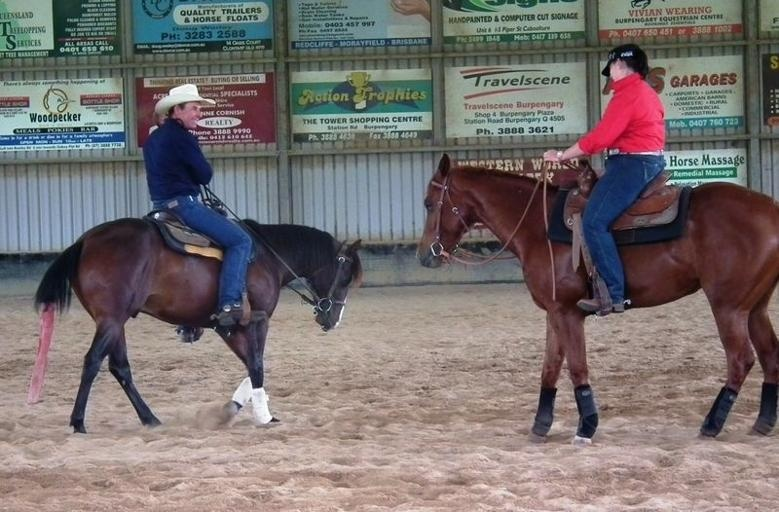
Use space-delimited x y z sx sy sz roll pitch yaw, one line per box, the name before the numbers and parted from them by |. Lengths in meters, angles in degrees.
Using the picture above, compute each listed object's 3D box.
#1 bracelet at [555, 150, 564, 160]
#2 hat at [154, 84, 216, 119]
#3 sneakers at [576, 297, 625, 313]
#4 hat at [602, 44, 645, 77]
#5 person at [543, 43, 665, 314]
bracelet | 2.230 -1.318 18.479 0.093 0.119 0.041 1 -1 7
hat | -2.823 -2.125 19.204 0.687 0.252 0.569 -17 -2 9
sneakers | 2.784 0.639 18.457 0.681 0.267 0.220 1 -5 0
hat | 3.099 -2.593 18.598 0.546 0.267 0.373 2 8 15
person | 2.969 -1.016 18.496 1.287 3.469 0.741 -3 -12 10
